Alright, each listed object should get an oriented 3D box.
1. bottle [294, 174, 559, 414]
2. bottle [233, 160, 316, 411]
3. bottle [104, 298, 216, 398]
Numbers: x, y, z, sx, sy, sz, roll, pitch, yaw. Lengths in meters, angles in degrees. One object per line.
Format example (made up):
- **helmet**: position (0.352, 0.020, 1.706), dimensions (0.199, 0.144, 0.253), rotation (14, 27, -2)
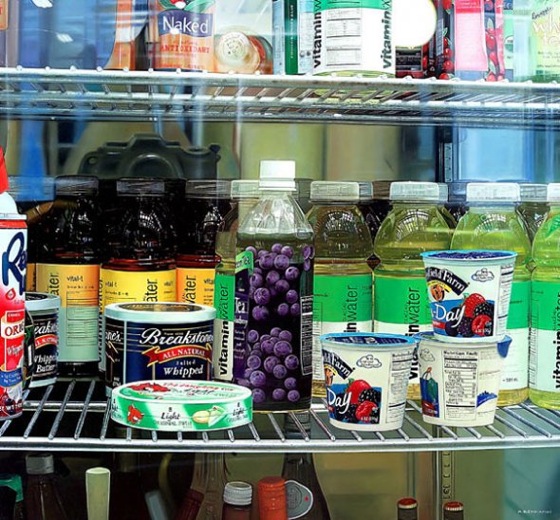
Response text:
- **bottle**: position (0.280, 0.045, 1.140), dimensions (0.338, 0.360, 0.206), rotation (-2, 7, 12)
- **bottle**: position (-0.008, 0.060, 1.007), dimensions (0.124, 0.328, 0.087), rotation (-4, 7, 4)
- **bottle**: position (-0.179, 0.125, 0.970), dimensions (0.181, 0.102, 0.146), rotation (1, 0, -3)
